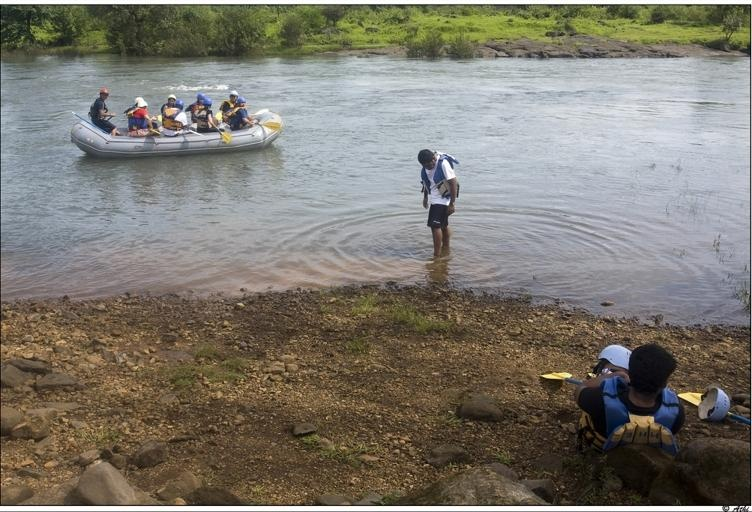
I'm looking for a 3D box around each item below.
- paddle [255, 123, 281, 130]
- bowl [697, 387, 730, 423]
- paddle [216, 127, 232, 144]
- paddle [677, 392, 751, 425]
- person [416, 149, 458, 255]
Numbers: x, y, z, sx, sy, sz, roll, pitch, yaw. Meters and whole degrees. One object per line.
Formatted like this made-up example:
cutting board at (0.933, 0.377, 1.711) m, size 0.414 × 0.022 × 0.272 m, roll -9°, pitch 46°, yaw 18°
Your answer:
paddle at (-4.402, -5.371, 26.300) m, size 1.036 × 0.280 × 0.284 m, roll 1°, pitch -6°, yaw -14°
bowl at (4.874, 2.164, 9.240) m, size 0.302 × 0.561 × 0.439 m, roll 9°, pitch 53°, yaw 4°
paddle at (-6.003, -4.779, 25.578) m, size 0.650 × 0.452 × 0.159 m, roll 27°, pitch -14°, yaw 38°
paddle at (4.971, 2.293, 9.421) m, size 0.342 × 0.094 × 0.956 m, roll -18°, pitch 10°, yaw -16°
person at (1.448, -1.284, 14.984) m, size 0.872 × 2.519 × 1.040 m, roll 1°, pitch 21°, yaw 5°
